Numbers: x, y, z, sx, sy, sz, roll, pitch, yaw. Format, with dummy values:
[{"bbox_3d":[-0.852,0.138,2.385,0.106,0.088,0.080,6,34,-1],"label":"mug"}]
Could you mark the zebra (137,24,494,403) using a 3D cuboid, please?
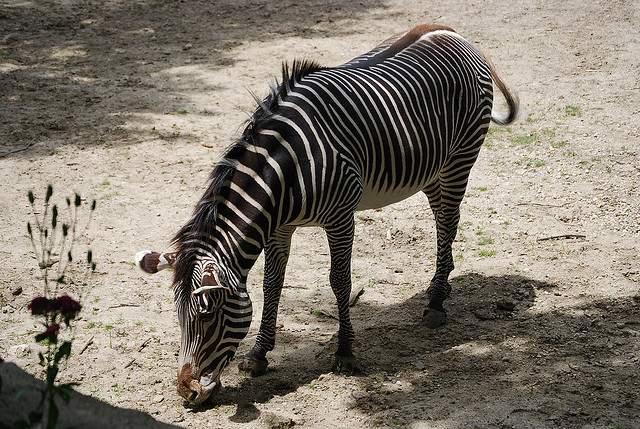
[{"bbox_3d":[0.180,-0.041,9.768,1.861,3.683,6.122,14,32,32],"label":"zebra"}]
